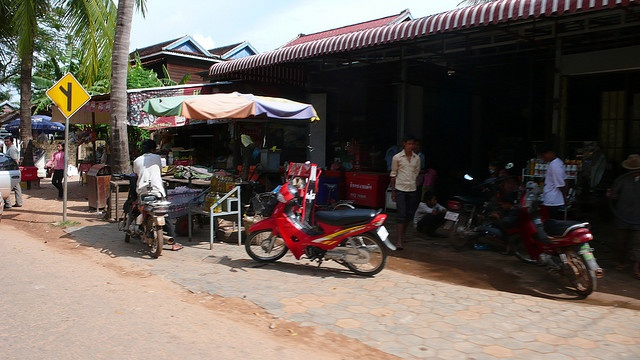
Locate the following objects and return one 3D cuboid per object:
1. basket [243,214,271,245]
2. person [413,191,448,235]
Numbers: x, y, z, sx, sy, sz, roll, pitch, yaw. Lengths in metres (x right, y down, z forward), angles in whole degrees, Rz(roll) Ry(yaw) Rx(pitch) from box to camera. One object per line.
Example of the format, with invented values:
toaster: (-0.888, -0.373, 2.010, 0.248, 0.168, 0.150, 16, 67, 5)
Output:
basket: (-1.590, 1.319, 11.982, 0.837, 0.629, 0.618, 3, 5, -2)
person: (3.344, 0.981, 13.432, 1.150, 1.109, 1.117, -5, 2, -27)
